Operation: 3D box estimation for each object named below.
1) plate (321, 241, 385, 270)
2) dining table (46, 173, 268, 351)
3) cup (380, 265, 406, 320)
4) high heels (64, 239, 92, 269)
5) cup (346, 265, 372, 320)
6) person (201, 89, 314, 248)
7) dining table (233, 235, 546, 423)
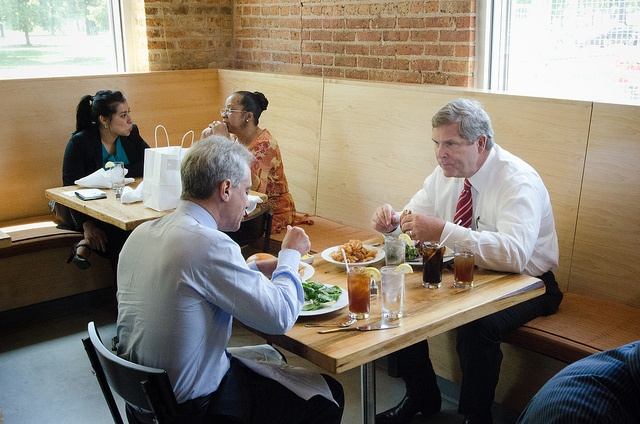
[{"bbox_3d":[0.141,0.200,2.034,0.179,0.054,0.170,-10,15,-41],"label":"plate"},{"bbox_3d":[-1.339,0.222,2.996,0.893,0.553,1.163,14,17,42],"label":"dining table"},{"bbox_3d":[0.267,0.291,1.583,0.089,0.187,0.133,3,20,10],"label":"cup"},{"bbox_3d":[-1.823,0.305,3.226,0.299,0.088,0.124,-29,21,16],"label":"high heels"},{"bbox_3d":[0.145,0.297,1.574,0.080,0.182,0.084,-1,20,0],"label":"cup"},{"bbox_3d":[-0.474,-0.472,4.001,1.201,1.173,0.823,-4,3,-38],"label":"person"},{"bbox_3d":[0.207,0.361,1.868,0.918,0.813,0.887,-11,22,-32],"label":"dining table"}]
